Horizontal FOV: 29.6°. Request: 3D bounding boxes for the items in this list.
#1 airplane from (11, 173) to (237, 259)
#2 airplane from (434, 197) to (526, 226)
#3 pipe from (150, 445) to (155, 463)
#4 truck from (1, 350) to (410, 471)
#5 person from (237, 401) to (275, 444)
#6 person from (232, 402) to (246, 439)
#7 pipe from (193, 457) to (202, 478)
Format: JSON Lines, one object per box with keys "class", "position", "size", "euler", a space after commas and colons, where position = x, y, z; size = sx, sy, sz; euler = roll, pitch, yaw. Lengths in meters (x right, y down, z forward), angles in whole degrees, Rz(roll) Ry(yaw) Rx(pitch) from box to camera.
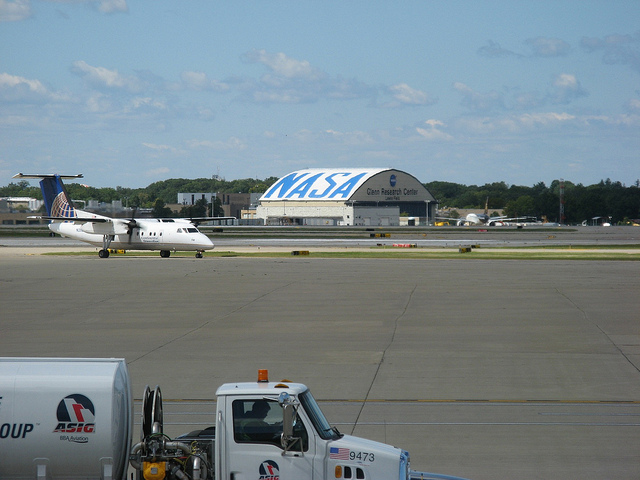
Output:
{"class": "airplane", "position": [-13.823, -0.723, 82.272], "size": [11.027, 3.408, 10.438], "euler": [-1, 0, 25]}
{"class": "airplane", "position": [33.083, -5.884, 248.969], "size": [13.454, 3.979, 12.658], "euler": [-1, -3, 25]}
{"class": "pipe", "position": [-4.653, 5.963, 33.525], "size": [0.120, 0.410, 0.208], "euler": [1, 15, -7]}
{"class": "truck", "position": [-3.080, 5.052, 34.318], "size": [11.916, 2.940, 3.925], "euler": [0, 0, 6]}
{"class": "person", "position": [-1.914, 5.180, 33.248], "size": [1.200, 1.128, 1.294], "euler": [3, 2, 6]}
{"class": "person", "position": [-2.238, 4.954, 33.106], "size": [0.339, 0.940, 0.305], "euler": [2, 15, -5]}
{"class": "pipe", "position": [-3.410, 6.288, 33.343], "size": [0.217, 0.514, 0.227], "euler": [3, 15, 0]}
